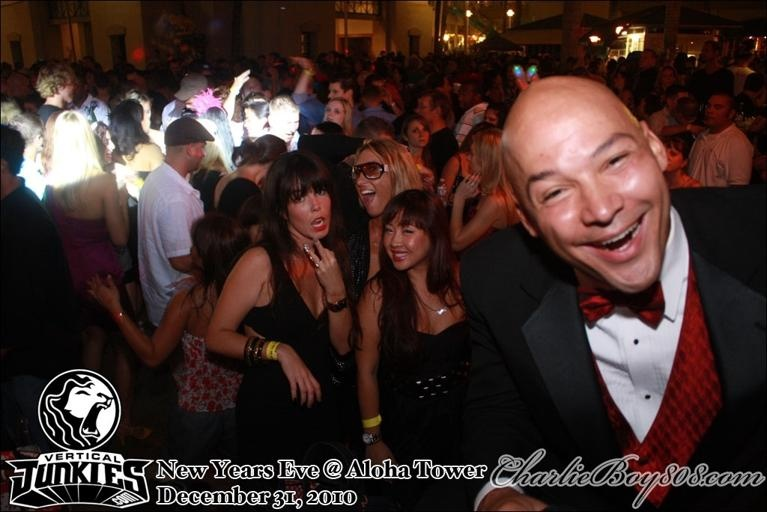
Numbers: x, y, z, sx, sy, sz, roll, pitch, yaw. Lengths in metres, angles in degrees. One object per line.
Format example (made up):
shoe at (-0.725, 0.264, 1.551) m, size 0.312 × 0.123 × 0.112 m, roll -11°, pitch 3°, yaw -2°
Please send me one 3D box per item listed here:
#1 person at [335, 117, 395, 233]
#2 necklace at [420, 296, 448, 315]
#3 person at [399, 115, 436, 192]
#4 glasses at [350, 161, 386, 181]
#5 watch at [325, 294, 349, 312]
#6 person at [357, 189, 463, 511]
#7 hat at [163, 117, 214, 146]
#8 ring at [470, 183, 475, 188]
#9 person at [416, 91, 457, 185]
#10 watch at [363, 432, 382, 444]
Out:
person at (-0.285, -0.810, 4.940) m, size 0.694 × 1.237 × 0.747 m, roll 5°, pitch 26°, yaw 5°
necklace at (0.339, 0.346, 3.552) m, size 0.175 × 0.044 × 0.098 m, roll 22°, pitch -4°, yaw 20°
person at (0.416, -1.193, 6.130) m, size 0.487 × 1.017 × 0.519 m, roll -3°, pitch -21°, yaw 2°
glasses at (-0.136, -0.723, 4.318) m, size 0.309 × 0.155 × 0.114 m, roll 9°, pitch 17°, yaw 18°
watch at (-0.311, 0.312, 3.467) m, size 0.119 × 0.059 × 0.093 m, roll 2°, pitch 27°, yaw 46°
person at (0.221, 0.465, 3.599) m, size 0.790 × 1.752 × 0.852 m, roll 6°, pitch 17°, yaw 8°
hat at (-1.762, -1.127, 4.701) m, size 0.366 × 0.176 × 0.257 m, roll -16°, pitch 25°, yaw -29°
ring at (0.874, -0.706, 5.094) m, size 0.046 × 0.043 × 0.014 m, roll -3°, pitch -8°, yaw 17°
person at (0.642, -1.571, 7.163) m, size 0.711 × 1.260 × 0.727 m, roll 7°, pitch 7°, yaw -9°
watch at (-0.081, 1.233, 3.518) m, size 0.105 × 0.049 × 0.076 m, roll -3°, pitch -16°, yaw 5°
